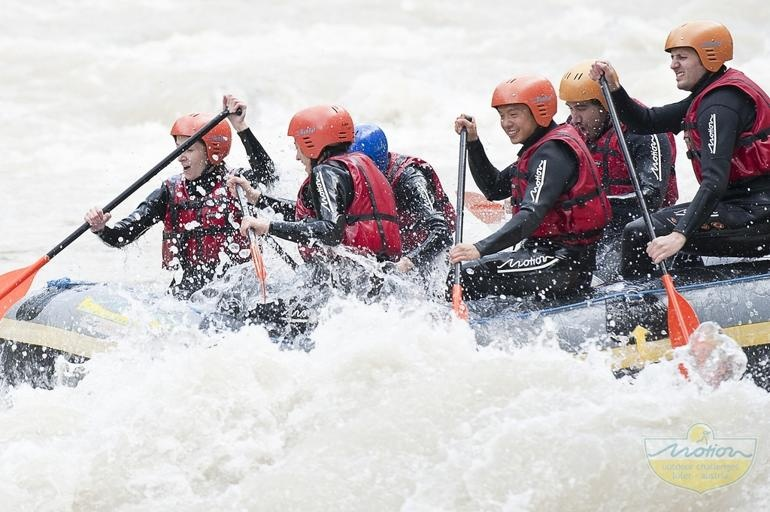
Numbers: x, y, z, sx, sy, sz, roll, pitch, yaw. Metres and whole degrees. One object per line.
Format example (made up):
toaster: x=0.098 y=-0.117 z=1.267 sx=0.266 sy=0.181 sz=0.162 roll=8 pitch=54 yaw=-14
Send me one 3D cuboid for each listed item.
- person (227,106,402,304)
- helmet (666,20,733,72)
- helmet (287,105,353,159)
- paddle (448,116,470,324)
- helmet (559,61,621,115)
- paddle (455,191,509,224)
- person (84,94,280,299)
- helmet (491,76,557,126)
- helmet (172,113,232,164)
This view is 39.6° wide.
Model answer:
person: x=-0.576 y=-0.504 z=7.588 sx=1.299 sy=1.745 sz=1.030 roll=2 pitch=22 yaw=12
helmet: x=2.139 y=-1.422 z=7.235 sx=0.447 sy=0.329 sz=0.327 roll=-7 pitch=17 yaw=-6
helmet: x=-0.443 y=-0.863 z=7.391 sx=0.473 sy=0.336 sz=0.345 roll=3 pitch=15 yaw=17
paddle: x=0.524 y=-0.244 z=7.275 sx=0.161 sy=1.491 sz=0.068 roll=8 pitch=-26 yaw=-6
helmet: x=1.505 y=-1.171 z=7.743 sx=0.325 sy=0.322 sz=0.394 roll=-26 pitch=-13 yaw=20
paddle: x=0.853 y=-0.399 z=9.413 sx=0.411 sy=0.233 sz=0.134 roll=32 pitch=25 yaw=23
person: x=-1.339 y=-0.278 z=7.700 sx=1.142 sy=2.188 sz=1.036 roll=-9 pitch=-14 yaw=44
helmet: x=0.941 y=-1.032 z=7.212 sx=0.464 sy=0.341 sz=0.448 roll=0 pitch=12 yaw=19
helmet: x=-1.393 y=-0.890 z=8.034 sx=0.492 sy=0.354 sz=0.377 roll=-1 pitch=17 yaw=-24
